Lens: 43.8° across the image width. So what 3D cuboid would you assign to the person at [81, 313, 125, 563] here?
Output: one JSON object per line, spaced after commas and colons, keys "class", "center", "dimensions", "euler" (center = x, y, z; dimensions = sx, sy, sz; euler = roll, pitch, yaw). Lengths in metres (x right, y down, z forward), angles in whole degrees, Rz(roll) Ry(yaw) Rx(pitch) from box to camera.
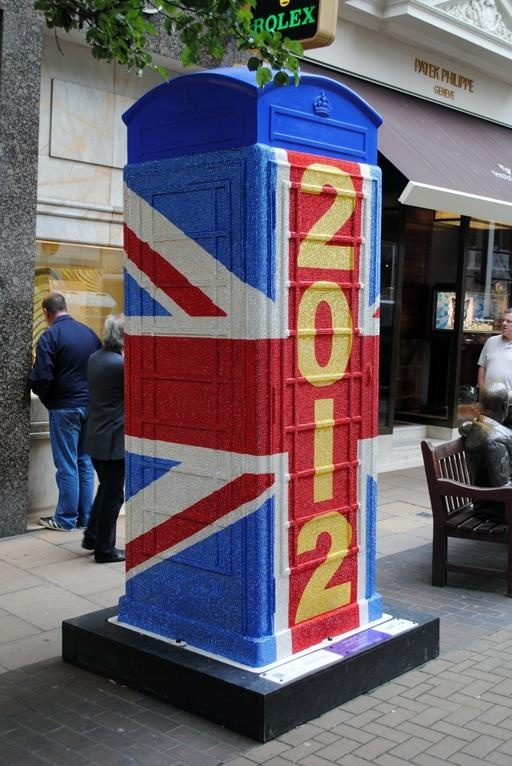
{"class": "person", "center": [-1.228, 0.464, 5.167], "dimensions": [0.339, 1.970, 0.554], "euler": [2, -4, -12]}
